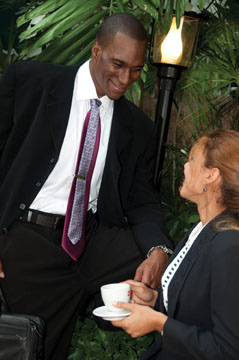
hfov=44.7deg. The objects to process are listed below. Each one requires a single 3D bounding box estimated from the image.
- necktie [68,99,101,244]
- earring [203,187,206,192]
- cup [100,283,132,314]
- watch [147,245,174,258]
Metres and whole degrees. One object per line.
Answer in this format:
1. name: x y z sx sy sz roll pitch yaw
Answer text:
1. necktie: -0.165 -0.028 1.371 0.098 0.691 0.035 11 -2 -6
2. earring: 0.237 0.027 0.817 0.010 0.015 0.012 13 17 15
3. cup: -0.012 0.354 0.902 0.090 0.075 0.095 0 -11 0
4. watch: 0.212 0.333 1.422 0.100 0.026 0.096 5 30 40
